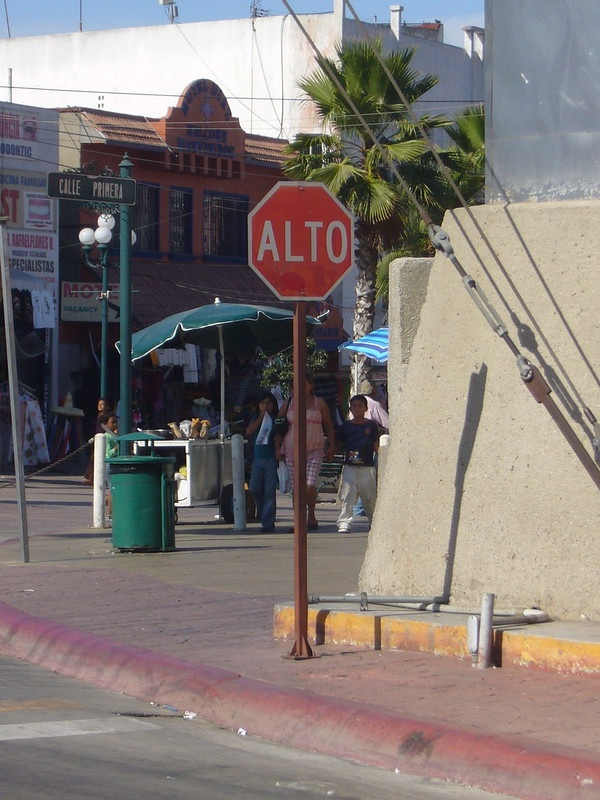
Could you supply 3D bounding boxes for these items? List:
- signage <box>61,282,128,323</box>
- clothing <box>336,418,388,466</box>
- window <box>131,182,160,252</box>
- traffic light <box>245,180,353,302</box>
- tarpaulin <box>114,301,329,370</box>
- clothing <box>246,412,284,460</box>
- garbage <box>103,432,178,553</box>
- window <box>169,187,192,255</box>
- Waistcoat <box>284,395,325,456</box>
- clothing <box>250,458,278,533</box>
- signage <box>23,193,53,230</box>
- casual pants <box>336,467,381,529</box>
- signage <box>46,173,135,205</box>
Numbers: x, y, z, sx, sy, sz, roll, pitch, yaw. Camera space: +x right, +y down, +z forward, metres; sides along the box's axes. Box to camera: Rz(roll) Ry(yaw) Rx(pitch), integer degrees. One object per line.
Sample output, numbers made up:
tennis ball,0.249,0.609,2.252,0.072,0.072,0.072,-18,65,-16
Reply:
signage,-3.577,-1.614,33.694,0.995,0.684,1.356,1,3,-8
clothing,0.554,0.417,18.492,0.530,0.653,0.330,0,-4,-2
window,-2.997,-3.370,37.614,0.643,1.486,0.128,2,-25,-10
traffic light,0.005,-0.879,11.010,0.581,0.795,0.066,1,39,1
tarpaulin,-0.679,-0.667,20.769,1.233,0.374,1.395,-9,-14,25
clothing,-0.242,0.352,18.819,0.323,0.391,0.100,15,6,32
garbage,-1.321,0.793,16.730,0.667,1.179,0.660,0,-1,2
window,-2.353,-3.439,38.508,0.076,1.766,1.135,1,1,21
Waistcoat,0.083,0.257,18.504,0.451,0.762,0.423,1,-7,-5
clothing,-0.370,0.861,18.963,0.226,0.719,0.283,-11,15,-38
signage,-4.402,-3.135,33.444,0.344,0.631,0.794,2,3,21
casual pants,0.533,0.918,18.732,0.343,0.651,0.663,1,3,1
signage,-1.801,-1.781,16.928,0.362,0.231,1.152,4,4,30
